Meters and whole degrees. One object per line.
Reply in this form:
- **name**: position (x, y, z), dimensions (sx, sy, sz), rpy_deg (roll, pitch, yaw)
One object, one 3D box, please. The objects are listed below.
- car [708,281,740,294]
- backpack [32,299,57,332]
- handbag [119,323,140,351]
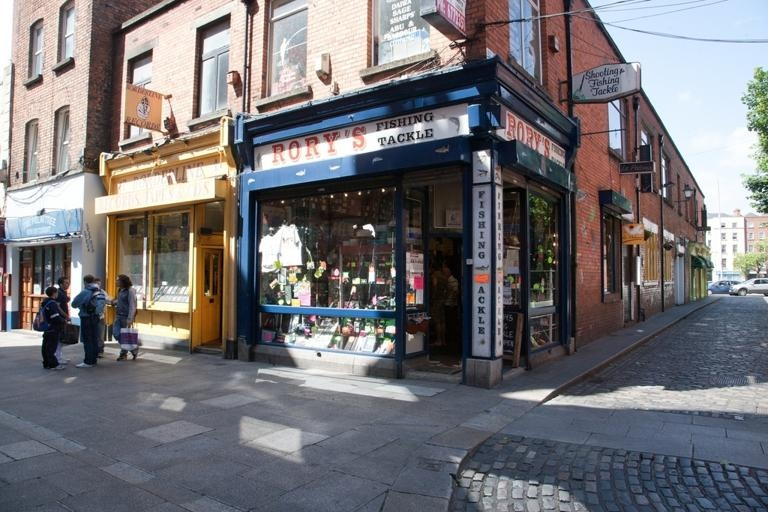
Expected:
- **car**: position (31.360, 2.716, 56.051), dimensions (2.690, 1.224, 1.550), rpy_deg (1, -4, 19)
- **backpack**: position (-8.310, 1.492, 14.966), dimensions (0.516, 0.750, 0.489), rpy_deg (-3, 15, -16)
- **handbag**: position (-6.792, 2.202, 16.308), dimensions (0.630, 0.838, 0.542), rpy_deg (-1, -20, -23)
